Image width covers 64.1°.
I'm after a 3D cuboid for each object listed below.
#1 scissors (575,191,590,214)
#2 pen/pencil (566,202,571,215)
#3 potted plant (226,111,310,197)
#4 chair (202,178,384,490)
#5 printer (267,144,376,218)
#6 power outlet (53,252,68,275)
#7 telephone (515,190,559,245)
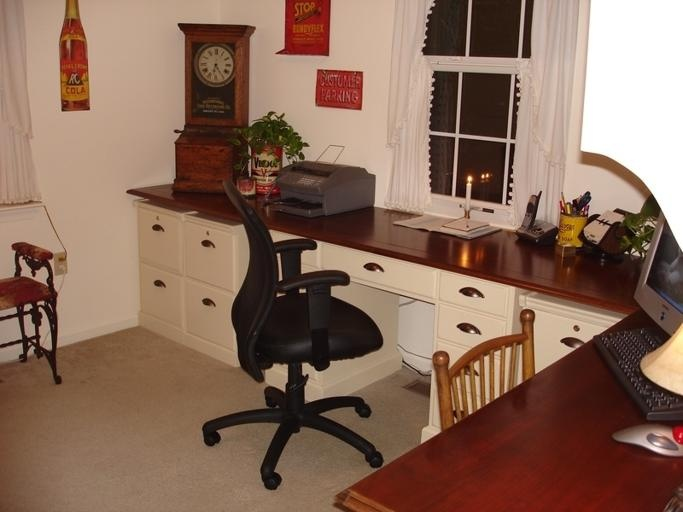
[{"bbox_3d":[1.135,-0.250,2.539,0.071,0.098,0.038,-2,20,-15],"label":"scissors"},{"bbox_3d":[1.062,-0.218,2.543,0.015,0.053,0.021,6,7,28],"label":"pen/pencil"},{"bbox_3d":[-0.474,-0.659,3.689,0.494,0.558,0.427,0,-2,-2],"label":"potted plant"},{"bbox_3d":[-0.198,0.325,2.580,0.739,1.231,0.818,5,14,15],"label":"chair"},{"bbox_3d":[-0.120,-0.417,3.330,0.450,0.320,0.407,16,22,41],"label":"printer"},{"bbox_3d":[-1.852,0.053,3.594,0.027,0.126,0.122,4,4,16],"label":"power outlet"},{"bbox_3d":[0.988,-0.206,2.722,0.155,0.253,0.182,-15,21,-27],"label":"telephone"}]
